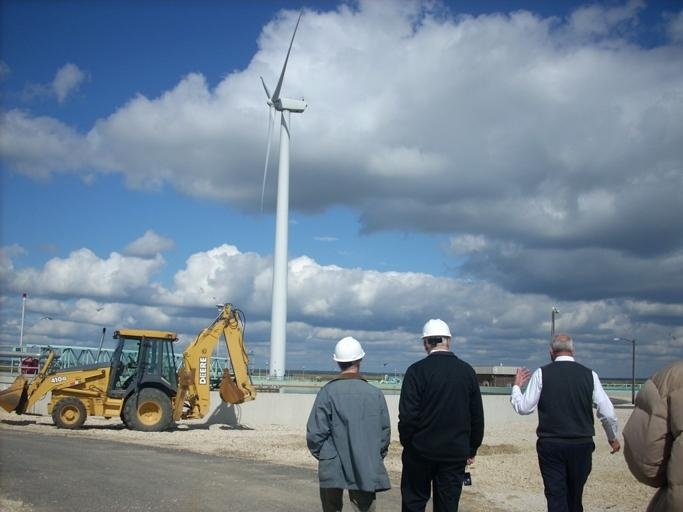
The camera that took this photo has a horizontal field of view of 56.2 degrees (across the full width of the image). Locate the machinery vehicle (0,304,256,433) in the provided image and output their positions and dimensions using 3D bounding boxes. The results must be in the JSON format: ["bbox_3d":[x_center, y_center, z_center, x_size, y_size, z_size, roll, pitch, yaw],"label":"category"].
[{"bbox_3d":[-5.897,3.235,18.918,6.348,3.726,1.815,-1,-11,4],"label":"machinery vehicle"}]
